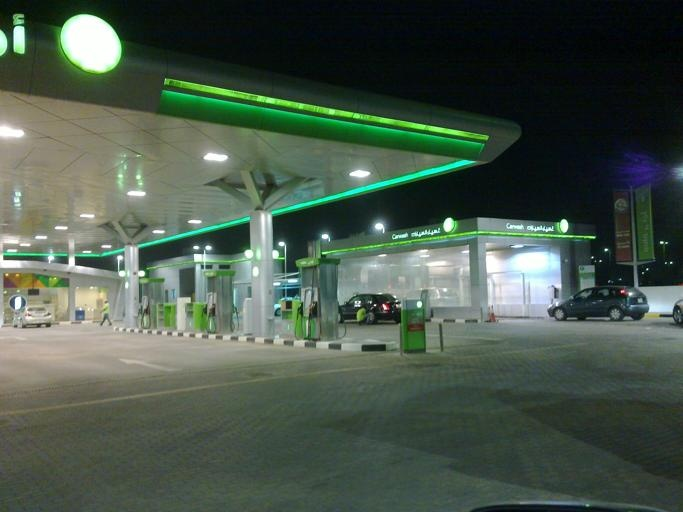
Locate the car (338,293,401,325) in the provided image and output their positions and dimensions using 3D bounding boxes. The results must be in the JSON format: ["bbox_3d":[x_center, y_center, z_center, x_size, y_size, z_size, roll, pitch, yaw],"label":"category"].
[{"bbox_3d":[1.473,2.626,29.070,3.429,1.484,0.997,-7,-9,40],"label":"car"}]

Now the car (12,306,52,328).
[{"bbox_3d":[-20.291,3.970,37.930,1.406,0.935,2.929,0,-1,-31],"label":"car"}]

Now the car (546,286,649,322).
[{"bbox_3d":[11.854,2.201,26.713,1.910,1.295,3.694,7,-7,-43],"label":"car"}]
